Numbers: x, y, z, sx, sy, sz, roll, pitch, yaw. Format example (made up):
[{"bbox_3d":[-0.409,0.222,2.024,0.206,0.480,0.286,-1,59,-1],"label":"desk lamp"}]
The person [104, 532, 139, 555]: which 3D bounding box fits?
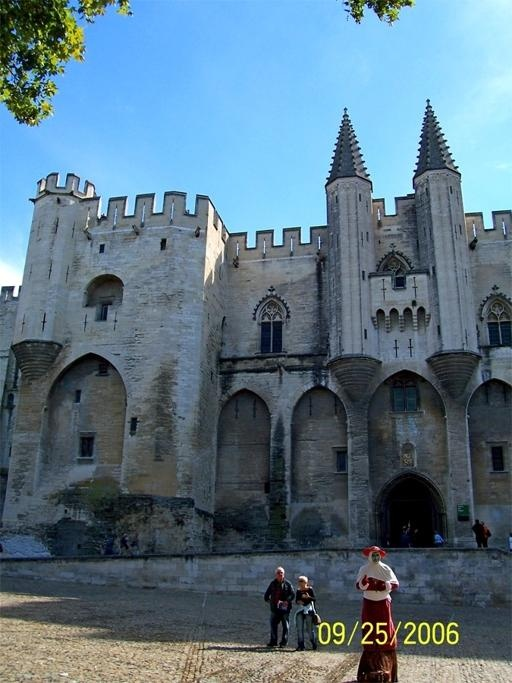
[{"bbox_3d":[-4.299,6.403,20.266,1.317,0.606,0.309,-8,-18,32],"label":"person"}]
